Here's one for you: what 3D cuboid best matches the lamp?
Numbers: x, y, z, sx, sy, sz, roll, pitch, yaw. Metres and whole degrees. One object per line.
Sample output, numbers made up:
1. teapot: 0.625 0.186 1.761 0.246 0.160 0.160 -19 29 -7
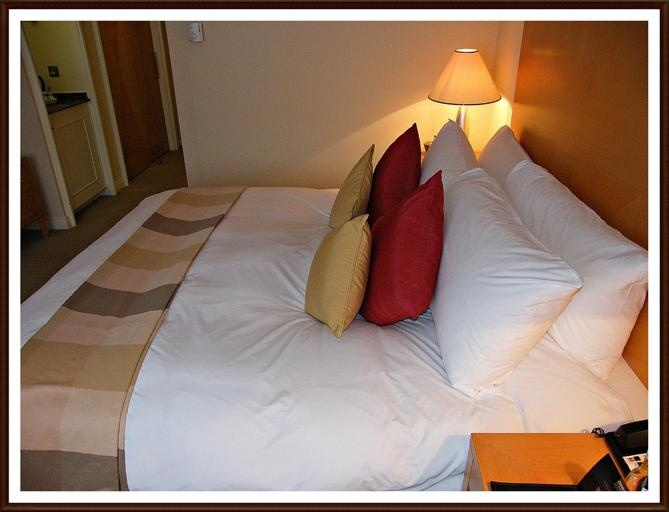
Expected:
1. lamp: 0.886 -1.079 3.154 0.394 0.668 0.425 -8 34 -2
